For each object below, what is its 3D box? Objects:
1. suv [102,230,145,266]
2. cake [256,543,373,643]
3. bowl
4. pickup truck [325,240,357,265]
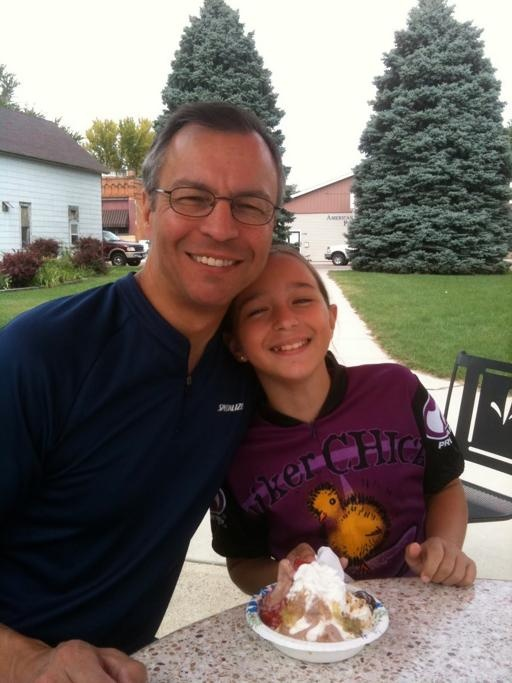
[{"bbox_3d":[-6.506,-4.244,25.492,2.833,1.238,1.323,5,16,14],"label":"suv"},{"bbox_3d":[0.125,0.497,1.136,0.185,0.078,0.182,-5,9,-44],"label":"cake"},{"bbox_3d":[0.119,0.588,1.161,0.299,0.080,0.226,0,2,13],"label":"bowl"},{"bbox_3d":[4.100,-4.358,27.666,0.960,0.740,1.687,0,5,2],"label":"pickup truck"}]
